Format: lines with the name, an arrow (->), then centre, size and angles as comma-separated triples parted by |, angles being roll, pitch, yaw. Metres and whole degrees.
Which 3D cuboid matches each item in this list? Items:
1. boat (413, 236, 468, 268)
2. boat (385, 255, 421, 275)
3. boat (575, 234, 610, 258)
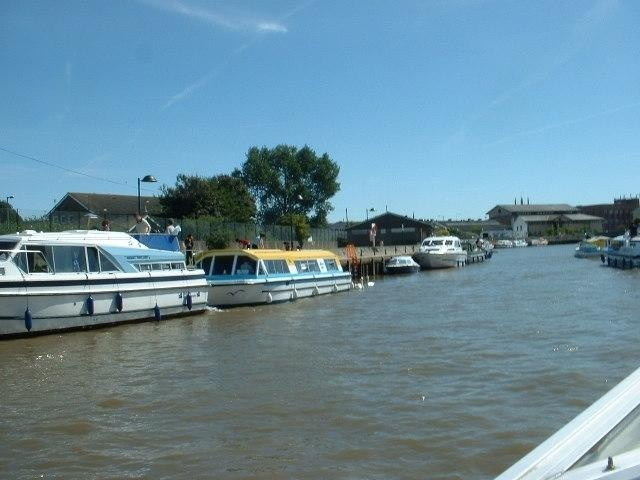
boat -> 12.682, 1.463, 63.463 | 2.814, 3.186, 7.322 | 1, 3, 34
boat -> 7.829, 2.557, 57.514 | 3.125, 1.686, 1.863 | 0, 3, 7
boat -> 35.518, 1.277, 78.175 | 2.800, 1.912, 5.221 | -2, 3, 15
